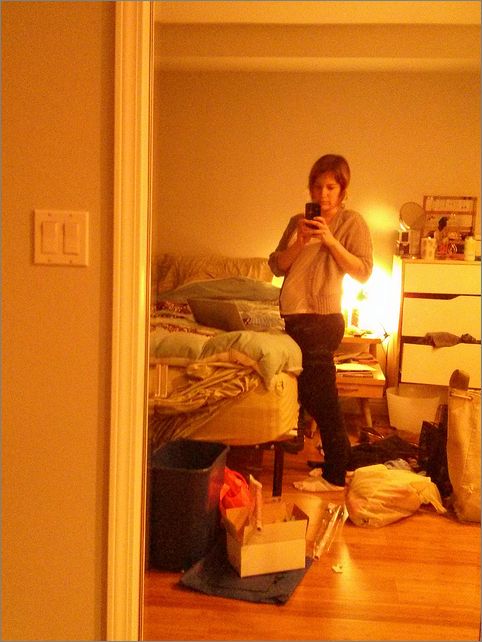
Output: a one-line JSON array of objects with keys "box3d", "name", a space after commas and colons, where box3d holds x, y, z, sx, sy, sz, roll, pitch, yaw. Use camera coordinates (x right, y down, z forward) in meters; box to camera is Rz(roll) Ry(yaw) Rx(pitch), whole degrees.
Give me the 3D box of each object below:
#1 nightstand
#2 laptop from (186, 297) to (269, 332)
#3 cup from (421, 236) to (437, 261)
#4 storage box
[{"box3d": [0.471, 0.240, 2.518, 0.338, 0.289, 0.523, 0, 8, 5], "name": "nightstand"}, {"box3d": [-0.053, -0.044, 1.956, 0.148, 0.094, 0.122, 6, 18, 37], "name": "laptop"}, {"box3d": [0.873, -0.337, 2.625, 0.083, 0.142, 0.093, 4, 4, 11], "name": "cup"}, {"box3d": [0.071, 0.543, 1.469, 0.188, 0.137, 0.142, -2, 7, -12], "name": "storage box"}]
